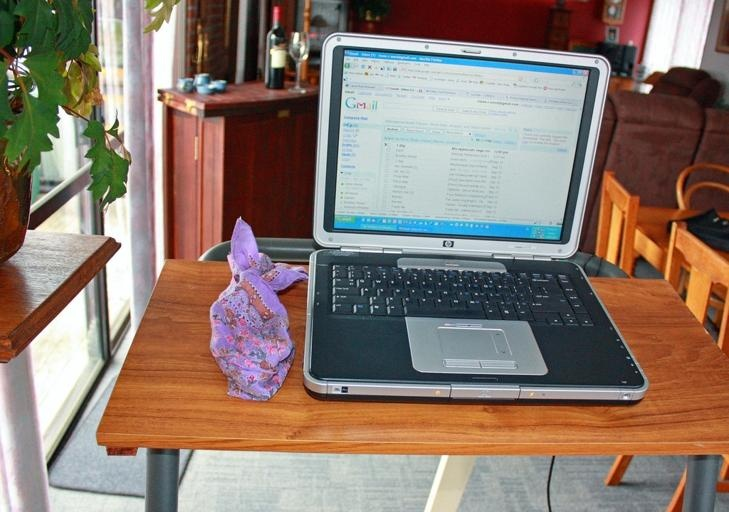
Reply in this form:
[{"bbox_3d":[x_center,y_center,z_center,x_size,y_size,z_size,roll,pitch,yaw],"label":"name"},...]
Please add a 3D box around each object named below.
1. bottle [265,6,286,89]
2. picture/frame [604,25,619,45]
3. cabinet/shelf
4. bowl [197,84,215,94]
[{"bbox_3d":[-0.389,-0.909,2.750,0.093,0.340,0.246,-1,25,-8],"label":"bottle"},{"bbox_3d":[3.455,-3.111,8.951,0.248,0.243,0.254,1,1,1],"label":"picture/frame"},{"bbox_3d":[-0.527,-0.357,2.480,0.448,0.693,0.426,6,43,-6],"label":"cabinet/shelf"},{"bbox_3d":[-0.627,-0.658,2.494,0.045,0.021,0.044,2,31,-1],"label":"bowl"}]
